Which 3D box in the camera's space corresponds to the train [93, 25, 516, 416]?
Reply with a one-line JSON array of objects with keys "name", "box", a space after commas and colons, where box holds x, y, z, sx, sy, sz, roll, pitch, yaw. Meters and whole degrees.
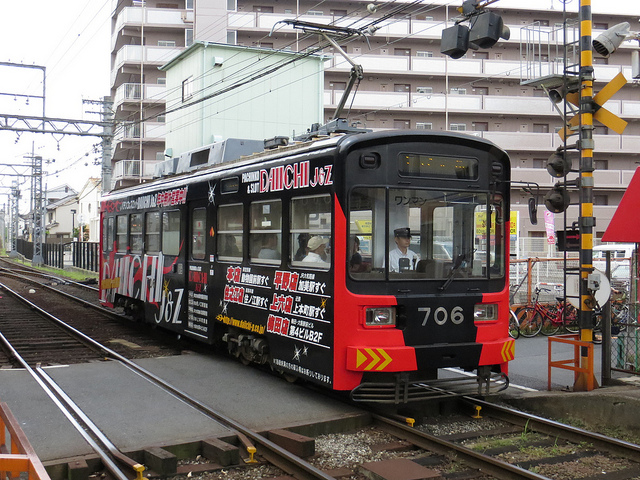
[{"name": "train", "box": [-1.609, 0.359, 14.781, 2.857, 4.502, 11.800, 3, -2, -36]}]

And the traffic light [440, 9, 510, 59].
[{"name": "traffic light", "box": [2.583, -3.456, 12.212, 0.540, 0.664, 1.235, 6, -4, -35]}]

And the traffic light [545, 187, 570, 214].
[{"name": "traffic light", "box": [3.705, -0.624, 11.317, 0.333, 0.368, 0.532, 1, -2, 14]}]

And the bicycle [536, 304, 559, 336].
[{"name": "bicycle", "box": [5.274, 1.870, 16.770, 0.457, 0.691, 0.881, 1, -2, 20]}]
